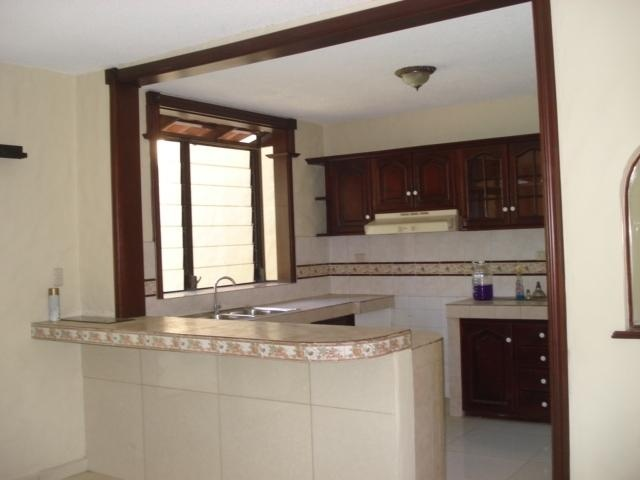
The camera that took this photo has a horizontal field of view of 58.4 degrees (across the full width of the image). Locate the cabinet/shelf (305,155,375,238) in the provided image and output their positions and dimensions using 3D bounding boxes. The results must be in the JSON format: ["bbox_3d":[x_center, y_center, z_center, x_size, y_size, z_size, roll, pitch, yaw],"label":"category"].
[{"bbox_3d":[0.234,-0.497,6.438,1.030,0.891,0.647,-2,-2,31],"label":"cabinet/shelf"}]

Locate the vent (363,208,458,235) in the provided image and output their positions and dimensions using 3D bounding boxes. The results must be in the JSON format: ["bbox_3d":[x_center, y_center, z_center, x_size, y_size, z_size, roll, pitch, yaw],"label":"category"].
[{"bbox_3d":[0.925,-0.190,5.988,1.012,0.147,0.205,-1,1,33],"label":"vent"}]

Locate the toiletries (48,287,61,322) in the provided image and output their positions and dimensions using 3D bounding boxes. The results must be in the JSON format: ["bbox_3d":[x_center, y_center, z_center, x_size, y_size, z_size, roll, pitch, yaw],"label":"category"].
[{"bbox_3d":[-1.995,0.474,4.291,0.089,0.232,0.259,-3,1,-25],"label":"toiletries"}]

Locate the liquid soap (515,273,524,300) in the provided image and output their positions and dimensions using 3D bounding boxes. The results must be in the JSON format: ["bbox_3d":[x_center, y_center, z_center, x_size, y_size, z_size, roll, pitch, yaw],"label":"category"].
[{"bbox_3d":[1.972,0.459,5.673,0.091,0.230,0.254,-2,1,18],"label":"liquid soap"}]

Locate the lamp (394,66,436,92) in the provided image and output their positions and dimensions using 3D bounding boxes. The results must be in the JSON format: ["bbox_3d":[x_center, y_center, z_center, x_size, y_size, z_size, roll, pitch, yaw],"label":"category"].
[{"bbox_3d":[0.778,-1.340,4.721,0.227,0.105,0.199,-2,0,-2],"label":"lamp"}]

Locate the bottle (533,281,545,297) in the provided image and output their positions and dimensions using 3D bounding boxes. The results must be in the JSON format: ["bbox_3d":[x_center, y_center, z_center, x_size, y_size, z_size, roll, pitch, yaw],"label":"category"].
[{"bbox_3d":[2.123,0.485,5.653,0.150,0.155,0.149,-1,0,34],"label":"bottle"}]

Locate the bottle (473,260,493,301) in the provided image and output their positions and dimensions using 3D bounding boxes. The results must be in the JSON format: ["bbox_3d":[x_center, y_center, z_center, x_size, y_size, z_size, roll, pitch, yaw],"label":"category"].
[{"bbox_3d":[1.654,0.411,5.839,0.196,0.375,0.324,-2,1,15],"label":"bottle"}]
